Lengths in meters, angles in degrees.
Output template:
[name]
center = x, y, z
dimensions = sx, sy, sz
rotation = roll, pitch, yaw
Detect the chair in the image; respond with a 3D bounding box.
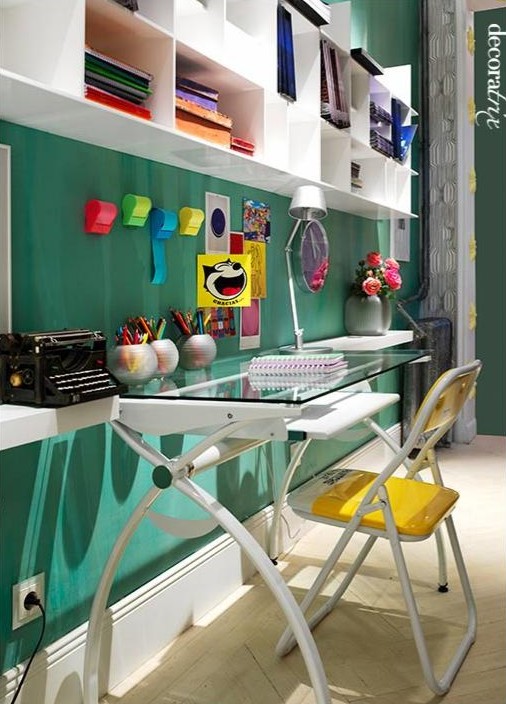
[chair]
center = 0.424, 0.415, 1.989
dimensions = 0.783, 1.362, 0.814
rotation = 4, 4, 24

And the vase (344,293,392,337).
[vase]
center = 0.652, -0.210, 3.057
dimensions = 0.224, 0.226, 0.233
rotation = 0, 0, -1

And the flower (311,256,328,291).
[flower]
center = 0.315, -0.381, 2.597
dimensions = 0.034, 0.150, 0.150
rotation = 13, 47, 11
